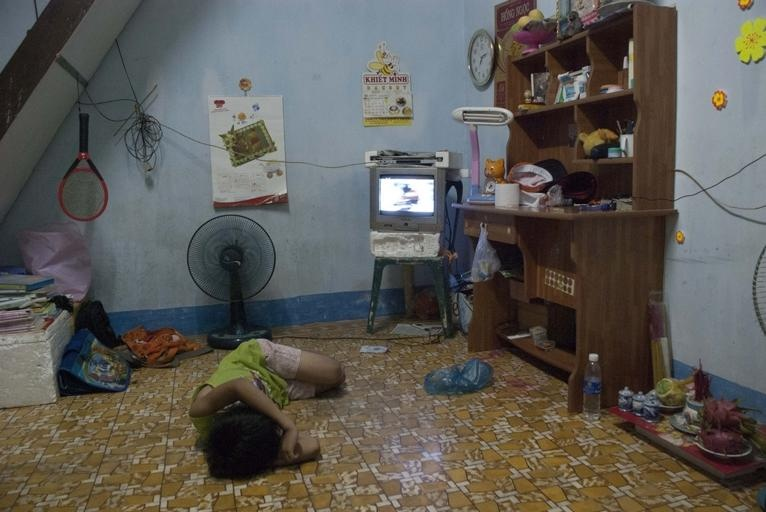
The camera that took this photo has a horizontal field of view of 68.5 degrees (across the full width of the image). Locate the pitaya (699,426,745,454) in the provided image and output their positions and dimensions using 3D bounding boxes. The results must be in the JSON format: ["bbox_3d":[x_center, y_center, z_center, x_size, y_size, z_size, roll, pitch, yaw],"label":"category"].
[{"bbox_3d":[1.919,1.053,3.208,0.202,0.113,0.093,3,12,27],"label":"pitaya"}]

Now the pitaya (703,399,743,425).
[{"bbox_3d":[1.955,0.908,3.262,0.144,0.106,0.181,-6,10,-23],"label":"pitaya"}]

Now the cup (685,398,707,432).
[{"bbox_3d":[1.872,0.964,3.413,0.134,0.135,0.138,0,4,0],"label":"cup"}]

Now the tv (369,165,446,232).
[{"bbox_3d":[0.302,-0.525,5.278,0.899,0.817,0.524,0,2,11],"label":"tv"}]

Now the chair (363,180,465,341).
[{"bbox_3d":[0.346,0.041,5.815,0.985,1.712,1.130,2,8,8],"label":"chair"}]

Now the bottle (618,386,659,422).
[{"bbox_3d":[1.639,0.946,3.626,0.231,0.142,0.172,2,12,21],"label":"bottle"}]

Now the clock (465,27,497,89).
[{"bbox_3d":[0.932,-1.855,5.340,0.075,0.554,0.440,-6,11,-19],"label":"clock"}]

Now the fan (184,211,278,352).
[{"bbox_3d":[-1.336,0.210,5.010,0.720,1.153,0.447,-6,11,-21],"label":"fan"}]

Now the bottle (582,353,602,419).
[{"bbox_3d":[1.381,0.852,3.711,0.123,0.428,0.123,-2,10,0],"label":"bottle"}]

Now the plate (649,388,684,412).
[{"bbox_3d":[1.834,0.918,3.622,0.161,0.136,0.185,2,10,18],"label":"plate"}]

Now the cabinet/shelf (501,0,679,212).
[{"bbox_3d":[1.490,-1.045,3.979,0.414,1.513,1.590,-1,5,-21],"label":"cabinet/shelf"}]

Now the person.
[{"bbox_3d":[-0.718,0.922,3.575,0.968,0.622,0.766,-7,12,-23],"label":"person"}]

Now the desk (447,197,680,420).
[{"bbox_3d":[1.254,0.260,4.276,0.765,1.337,1.506,-9,13,-33],"label":"desk"}]
